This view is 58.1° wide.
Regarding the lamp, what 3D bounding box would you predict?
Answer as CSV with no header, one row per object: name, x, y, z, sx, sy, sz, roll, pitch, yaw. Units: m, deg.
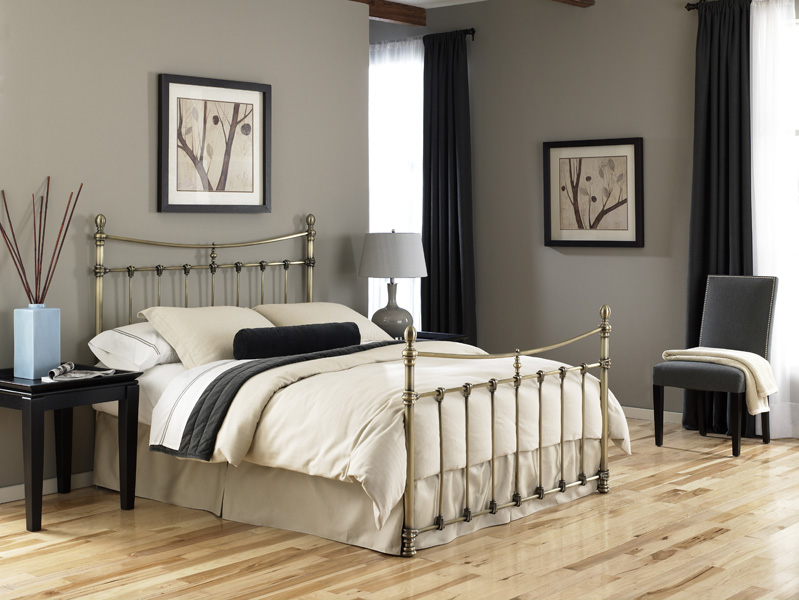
lamp,-0.056,-0.092,5.675,0.495,0.831,0.516,0,1,23

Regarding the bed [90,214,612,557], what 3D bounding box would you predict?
bed,-0.331,0.433,4.538,2.582,1.792,2.397,1,2,35

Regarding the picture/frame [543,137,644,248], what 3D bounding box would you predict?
picture/frame,1.672,-0.920,6.089,0.861,1.026,0.073,1,4,35

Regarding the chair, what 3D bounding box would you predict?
chair,2.358,0.441,5.259,0.800,1.292,0.703,-1,2,-25

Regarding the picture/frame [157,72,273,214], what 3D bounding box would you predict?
picture/frame,-1.300,-1.079,4.933,0.064,1.058,0.962,2,2,43
